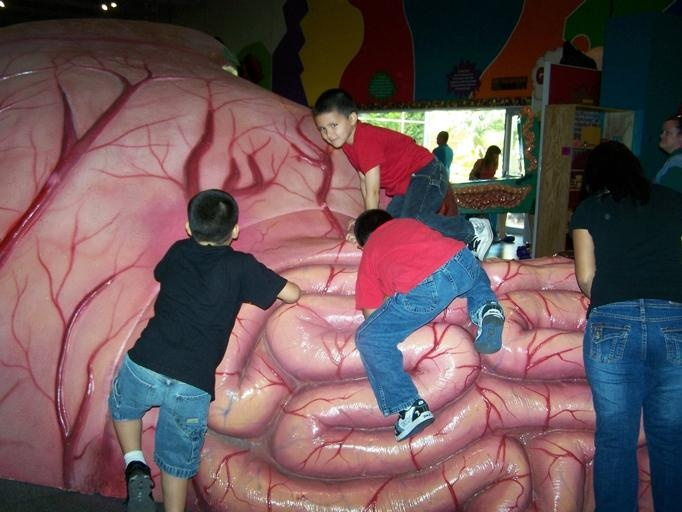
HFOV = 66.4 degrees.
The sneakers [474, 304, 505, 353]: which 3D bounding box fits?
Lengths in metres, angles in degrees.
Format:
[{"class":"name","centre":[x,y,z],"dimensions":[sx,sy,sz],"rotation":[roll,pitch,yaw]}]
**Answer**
[{"class":"sneakers","centre":[0.507,0.243,1.766],"dimensions":[0.091,0.182,0.106],"rotation":[1,2,9]}]

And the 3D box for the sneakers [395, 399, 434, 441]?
[{"class":"sneakers","centre":[0.227,0.548,1.714],"dimensions":[0.083,0.175,0.137],"rotation":[2,2,-29]}]
